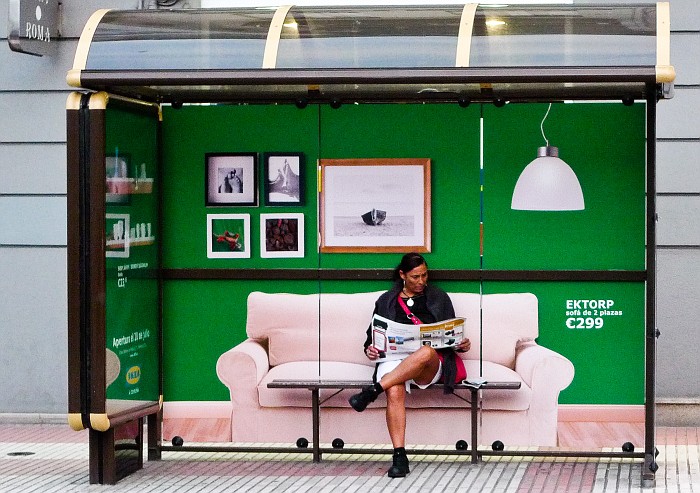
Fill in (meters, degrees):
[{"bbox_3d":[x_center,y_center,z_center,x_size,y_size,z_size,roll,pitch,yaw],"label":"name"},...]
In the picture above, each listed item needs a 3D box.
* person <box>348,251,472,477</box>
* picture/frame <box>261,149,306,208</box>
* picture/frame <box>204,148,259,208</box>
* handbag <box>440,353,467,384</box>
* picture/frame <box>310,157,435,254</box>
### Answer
[{"bbox_3d":[0.538,1.019,8.400,0.966,1.898,1.104,0,-2,2],"label":"person"},{"bbox_3d":[-0.605,-0.617,8.198,0.379,0.478,0.136,-1,1,3],"label":"picture/frame"},{"bbox_3d":[-1.094,-0.621,8.397,0.459,0.466,0.054,-1,3,-5],"label":"picture/frame"},{"bbox_3d":[0.916,1.077,8.094,0.247,0.253,0.089,-5,-10,-30],"label":"handbag"},{"bbox_3d":[0.219,-0.374,8.339,1.003,0.845,0.170,-1,3,-4],"label":"picture/frame"}]
